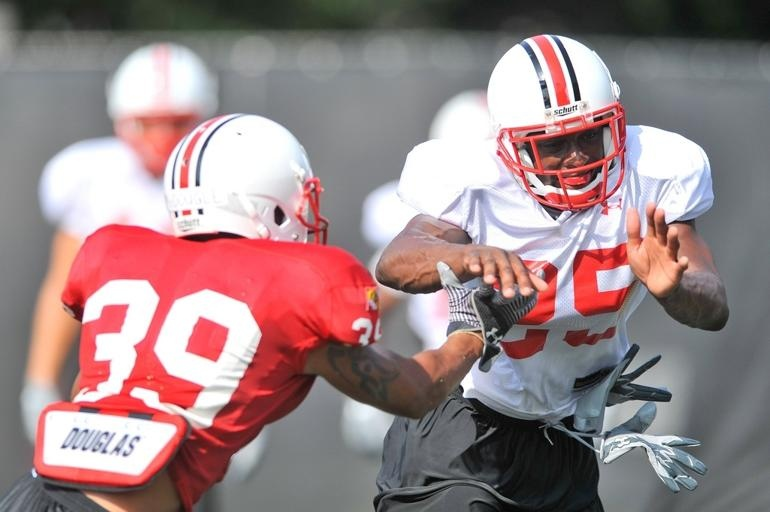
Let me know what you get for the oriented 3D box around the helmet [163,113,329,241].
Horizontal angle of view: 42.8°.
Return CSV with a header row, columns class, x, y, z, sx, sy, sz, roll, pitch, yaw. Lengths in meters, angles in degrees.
class,x,y,z,sx,sy,sz,roll,pitch,yaw
helmet,-0.556,-0.323,3.942,0.602,0.476,0.445,-8,8,-33
